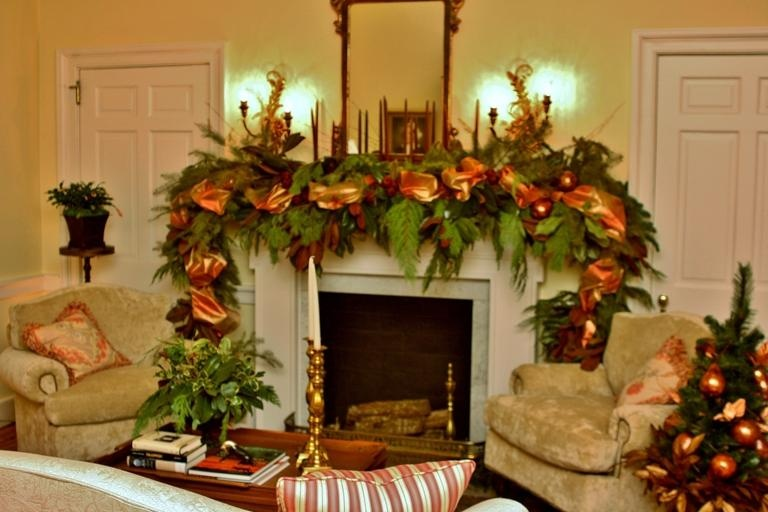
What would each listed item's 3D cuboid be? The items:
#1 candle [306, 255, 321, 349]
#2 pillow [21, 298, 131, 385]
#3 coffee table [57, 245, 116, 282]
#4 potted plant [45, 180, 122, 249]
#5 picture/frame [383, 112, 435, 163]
[{"bbox_3d":[-0.290,0.197,2.768,0.057,0.379,0.185,2,3,-6],"label":"candle"},{"bbox_3d":[-1.848,0.519,3.932,0.134,0.448,0.446,-42,-9,26],"label":"pillow"},{"bbox_3d":[-2.118,0.057,4.719,0.364,0.276,0.334,2,2,-5],"label":"coffee table"},{"bbox_3d":[-2.103,-0.277,4.794,0.494,0.514,0.499,2,5,1],"label":"potted plant"},{"bbox_3d":[0.177,-0.760,4.178,0.345,0.378,0.026,2,7,5],"label":"picture/frame"}]
